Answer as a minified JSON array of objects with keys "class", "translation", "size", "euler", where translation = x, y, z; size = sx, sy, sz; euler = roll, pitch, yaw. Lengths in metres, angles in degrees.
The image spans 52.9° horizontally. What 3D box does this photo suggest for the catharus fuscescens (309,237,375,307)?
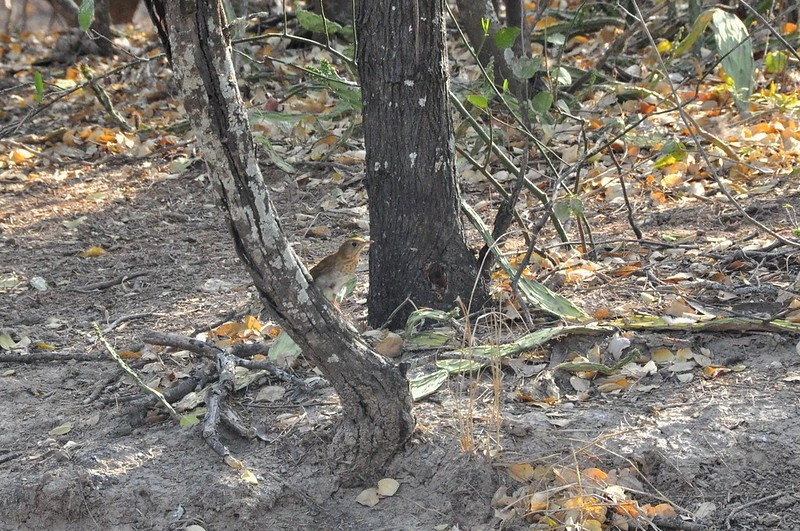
[{"class":"catharus fuscescens","translation":[-0.480,0.055,6.676],"size":[0.503,0.563,0.289],"euler":[-11,12,-6]}]
